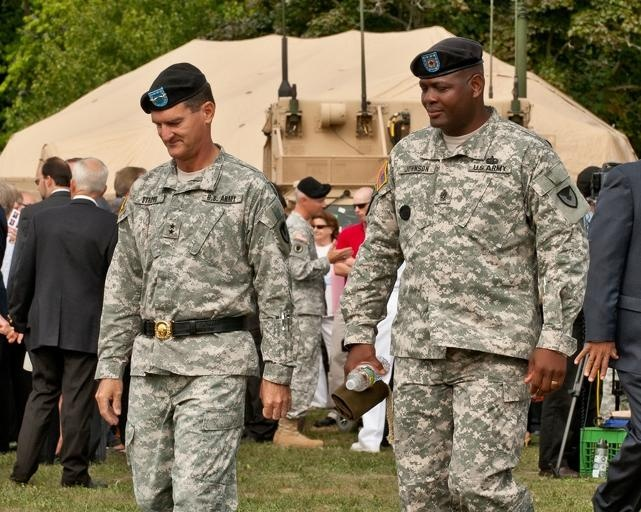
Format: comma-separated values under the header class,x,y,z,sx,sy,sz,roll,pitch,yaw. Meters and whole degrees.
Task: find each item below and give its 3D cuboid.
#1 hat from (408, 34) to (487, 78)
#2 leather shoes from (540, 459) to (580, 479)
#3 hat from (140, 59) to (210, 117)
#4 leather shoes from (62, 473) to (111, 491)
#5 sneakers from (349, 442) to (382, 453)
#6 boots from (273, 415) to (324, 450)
class,x,y,z,sx,sy,sz,roll,pitch,yaw
hat,0.677,-1.085,5.912,0.258,0.104,0.303,-8,13,37
leather shoes,1.922,1.726,8.957,0.327,0.117,0.103,-8,10,-22
hat,-0.812,-0.895,6.030,0.269,0.163,0.359,-7,5,41
leather shoes,-1.803,1.740,8.656,0.400,0.141,0.125,-1,2,-13
sneakers,0.411,1.766,10.204,0.169,0.049,0.111,3,1,31
boots,-0.136,1.690,10.603,0.630,0.359,0.213,1,2,0
